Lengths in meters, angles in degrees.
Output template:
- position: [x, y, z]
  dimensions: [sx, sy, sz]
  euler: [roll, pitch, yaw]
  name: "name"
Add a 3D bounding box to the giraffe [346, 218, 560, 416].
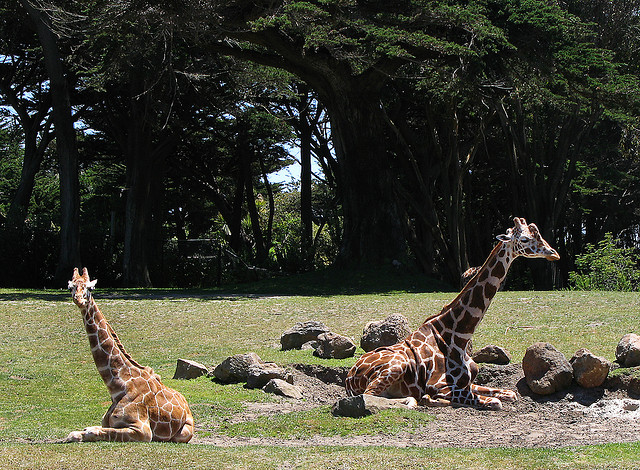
- position: [2.325, 1.457, 13.872]
  dimensions: [3.431, 3.235, 2.074]
  euler: [-3, -7, 22]
  name: "giraffe"
